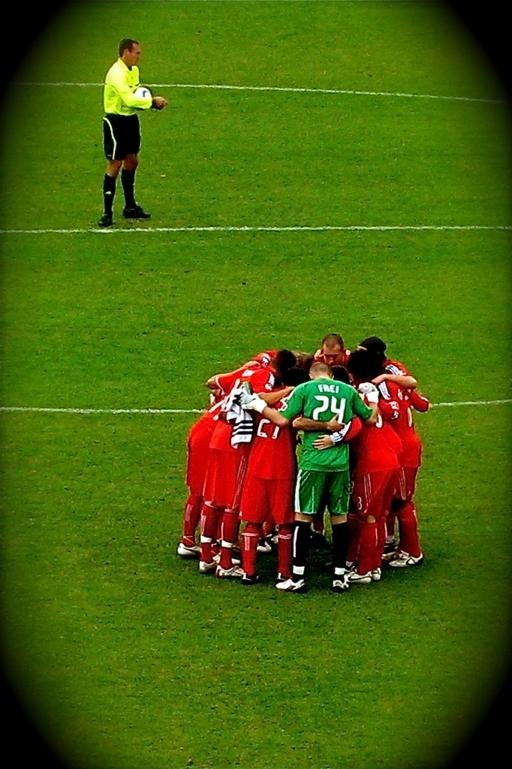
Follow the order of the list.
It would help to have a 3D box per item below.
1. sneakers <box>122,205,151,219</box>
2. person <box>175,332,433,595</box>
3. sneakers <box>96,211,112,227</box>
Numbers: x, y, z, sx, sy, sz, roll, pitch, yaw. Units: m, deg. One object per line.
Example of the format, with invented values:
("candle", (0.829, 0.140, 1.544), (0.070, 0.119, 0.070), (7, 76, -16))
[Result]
("sneakers", (-1.519, -2.192, 17.579), (0.304, 0.150, 0.165), (0, 20, -5))
("person", (0.363, 0.672, 10.255), (1.199, 1.964, 0.981), (-17, 34, -32))
("sneakers", (-1.903, -2.059, 17.281), (0.187, 0.198, 0.118), (7, 9, 1))
